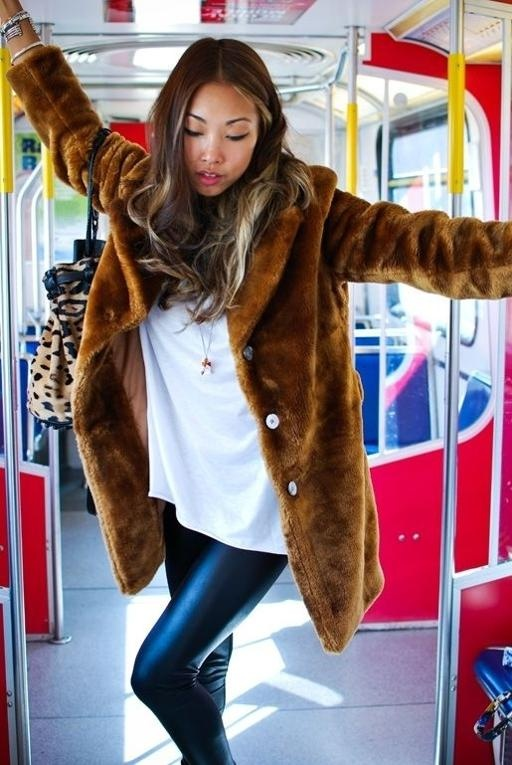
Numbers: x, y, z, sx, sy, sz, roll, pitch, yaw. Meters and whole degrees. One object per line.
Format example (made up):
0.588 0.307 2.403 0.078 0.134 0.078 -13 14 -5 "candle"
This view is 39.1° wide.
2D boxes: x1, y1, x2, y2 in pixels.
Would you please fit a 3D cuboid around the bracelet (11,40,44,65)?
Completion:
-0.501 -0.740 1.620 0.063 0.027 0.049 -40 51 -14 "bracelet"

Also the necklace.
-0.106 -0.083 1.381 0.063 0.137 0.038 0 6 26 "necklace"
